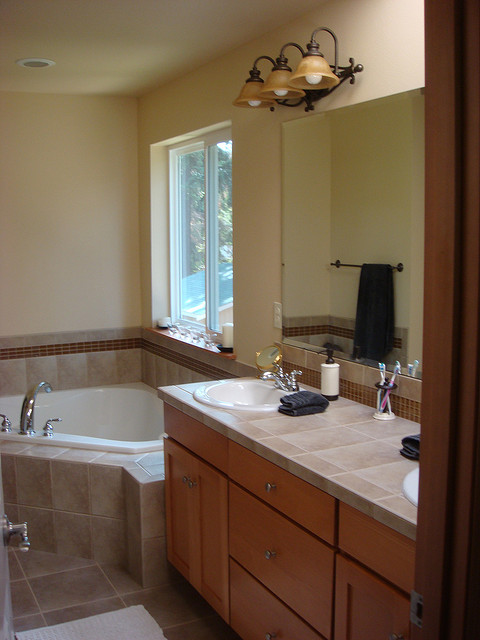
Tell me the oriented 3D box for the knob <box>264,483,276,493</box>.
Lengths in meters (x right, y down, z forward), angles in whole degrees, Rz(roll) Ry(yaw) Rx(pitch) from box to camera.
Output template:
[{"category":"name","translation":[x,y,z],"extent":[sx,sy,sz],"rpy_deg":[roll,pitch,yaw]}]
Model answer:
[{"category":"knob","translation":[0.088,0.497,1.592],"extent":[0.027,0.027,0.028],"rpy_deg":[-3,-3,-26]}]

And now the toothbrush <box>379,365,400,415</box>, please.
[{"category":"toothbrush","translation":[0.530,0.244,1.894],"extent":[0.053,0.173,0.096],"rpy_deg":[3,4,33]}]

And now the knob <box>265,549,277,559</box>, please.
[{"category":"knob","translation":[0.090,0.703,1.611],"extent":[0.033,0.023,0.017],"rpy_deg":[-24,-14,22]}]

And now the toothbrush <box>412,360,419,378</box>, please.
[{"category":"toothbrush","translation":[0.605,0.167,1.844],"extent":[0.004,0.061,0.030],"rpy_deg":[-1,3,-20]}]

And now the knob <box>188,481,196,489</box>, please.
[{"category":"knob","translation":[-0.190,0.653,2.123],"extent":[0.017,0.018,0.031],"rpy_deg":[19,0,8]}]

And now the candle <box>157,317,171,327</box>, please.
[{"category":"candle","translation":[-0.590,0.008,4.154],"extent":[0.072,0.049,0.072],"rpy_deg":[-4,8,-34]}]

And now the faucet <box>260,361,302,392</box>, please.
[{"category":"faucet","translation":[0.175,0.241,2.346],"extent":[0.071,0.094,0.233],"rpy_deg":[-2,12,-22]}]

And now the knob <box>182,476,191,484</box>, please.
[{"category":"knob","translation":[-0.220,0.647,2.185],"extent":[0.032,0.044,0.021],"rpy_deg":[7,0,32]}]

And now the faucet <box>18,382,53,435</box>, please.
[{"category":"faucet","translation":[-1.213,0.510,3.090],"extent":[0.098,0.269,0.167],"rpy_deg":[0,3,-3]}]

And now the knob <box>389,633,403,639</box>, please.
[{"category":"knob","translation":[0.326,0.661,1.119],"extent":[0.023,0.008,0.015],"rpy_deg":[-5,4,-10]}]

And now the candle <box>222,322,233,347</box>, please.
[{"category":"candle","translation":[-0.085,0.088,3.126],"extent":[0.050,0.131,0.133],"rpy_deg":[-1,3,-22]}]
